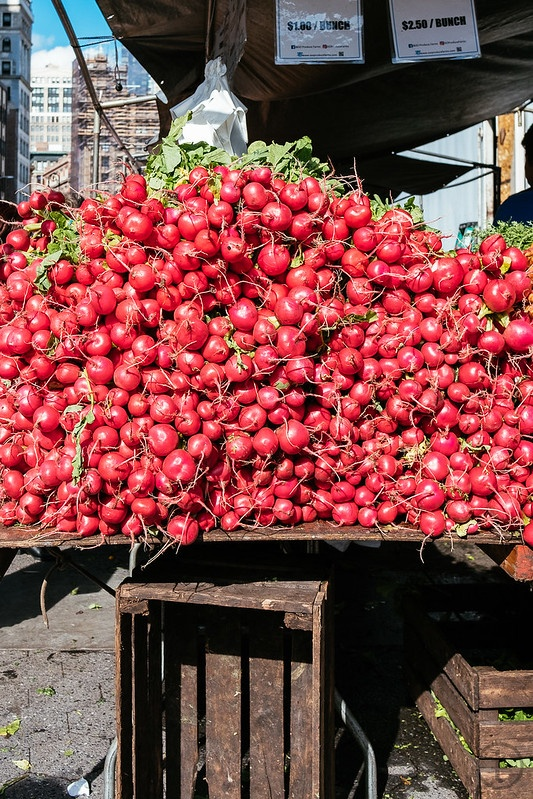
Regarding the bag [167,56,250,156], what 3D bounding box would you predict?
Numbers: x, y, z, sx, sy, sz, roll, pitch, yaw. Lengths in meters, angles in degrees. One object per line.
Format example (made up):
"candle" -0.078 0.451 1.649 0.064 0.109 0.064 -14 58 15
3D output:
"bag" -0.245 -1.369 3.116 0.344 0.385 0.304 8 14 34
